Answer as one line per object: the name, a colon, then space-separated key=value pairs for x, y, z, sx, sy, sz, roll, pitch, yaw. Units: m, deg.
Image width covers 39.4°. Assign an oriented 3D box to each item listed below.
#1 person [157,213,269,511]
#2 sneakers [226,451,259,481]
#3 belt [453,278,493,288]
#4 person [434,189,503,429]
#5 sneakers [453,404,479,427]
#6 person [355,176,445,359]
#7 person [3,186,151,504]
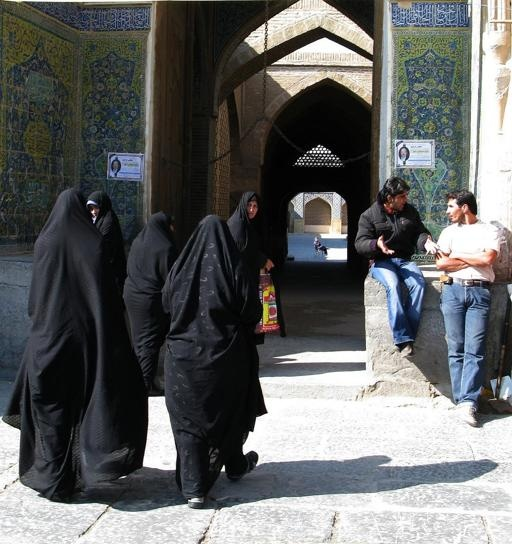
person: x=-0.150 y=0.326 z=2.797 sx=0.415 sy=1.086 sz=0.395 roll=0 pitch=5 yaw=-8
sneakers: x=-0.048 y=0.797 z=3.012 sx=0.062 sy=0.062 sz=0.168 roll=9 pitch=20 yaw=12
belt: x=1.189 y=0.061 z=3.940 sx=0.205 sy=0.050 sz=0.060 roll=1 pitch=5 yaw=12
person: x=1.202 y=0.173 z=3.929 sx=0.350 sy=1.237 sz=0.499 roll=0 pitch=5 yaw=-6
sneakers: x=1.130 y=0.746 z=3.820 sx=0.070 sy=0.058 sz=0.165 roll=-27 pitch=18 yaw=-11
person: x=0.821 y=-0.043 z=4.220 sx=0.453 sy=1.020 sz=0.418 roll=1 pitch=5 yaw=8
person: x=-0.670 y=0.269 z=2.797 sx=0.469 sy=1.182 sz=0.418 roll=0 pitch=5 yaw=-7
